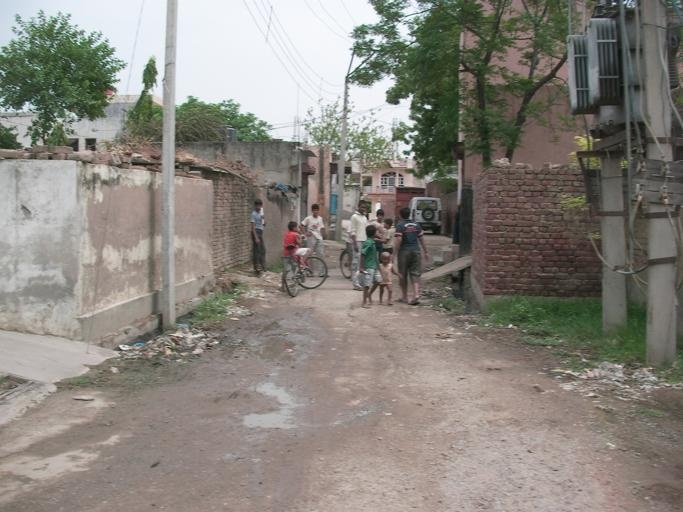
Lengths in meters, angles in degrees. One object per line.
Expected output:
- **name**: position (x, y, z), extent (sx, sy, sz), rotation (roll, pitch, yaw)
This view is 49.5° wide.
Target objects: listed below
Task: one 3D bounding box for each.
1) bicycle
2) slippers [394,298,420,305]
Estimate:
- **bicycle**: position (-0.181, 0.310, 16.057), extent (2.390, 0.961, 0.965), rotation (-1, 8, -13)
- **slippers**: position (1.352, 0.887, 14.571), extent (0.151, 0.129, 0.387), rotation (3, 3, -26)
